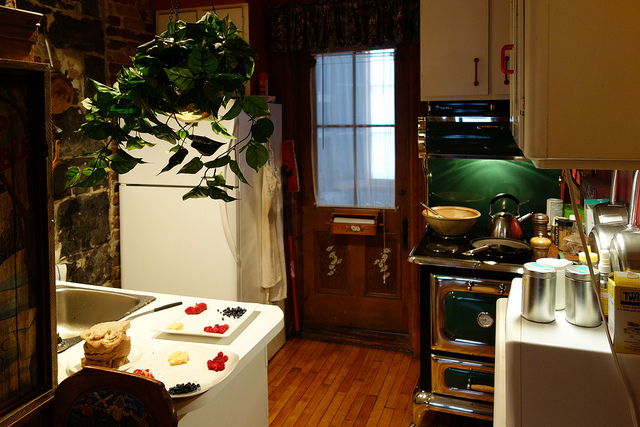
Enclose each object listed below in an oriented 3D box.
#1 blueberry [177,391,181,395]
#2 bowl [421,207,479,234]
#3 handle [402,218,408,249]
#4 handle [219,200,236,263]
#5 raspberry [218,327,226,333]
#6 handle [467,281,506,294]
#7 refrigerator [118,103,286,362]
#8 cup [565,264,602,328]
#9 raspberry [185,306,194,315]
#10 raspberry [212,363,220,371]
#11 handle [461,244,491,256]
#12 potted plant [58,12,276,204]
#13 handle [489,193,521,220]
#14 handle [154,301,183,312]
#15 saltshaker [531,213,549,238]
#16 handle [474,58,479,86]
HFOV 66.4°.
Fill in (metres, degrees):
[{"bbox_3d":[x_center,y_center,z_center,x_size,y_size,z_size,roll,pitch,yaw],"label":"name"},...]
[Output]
[{"bbox_3d":[-0.552,0.699,1.907,0.012,0.007,0.011,-5,11,-13],"label":"blueberry"},{"bbox_3d":[0.924,0.041,3.475,0.359,0.178,0.342,-3,11,0],"label":"bowl"},{"bbox_3d":[0.712,0.173,4.100,0.039,0.252,0.051,-1,10,7],"label":"handle"},{"bbox_3d":[-0.677,0.146,3.567,0.050,0.536,0.055,14,25,20],"label":"handle"},{"bbox_3d":[-0.476,0.563,2.358,0.035,0.014,0.028,-1,11,10],"label":"raspberry"},{"bbox_3d":[1.008,0.453,2.969,0.219,0.070,0.010,2,11,22],"label":"handle"},{"bbox_3d":[-0.885,0.160,4.022,0.813,2.030,1.381,3,10,13],"label":"refrigerator"},{"bbox_3d":[1.042,0.338,1.953,0.124,0.238,0.153,-5,4,-36],"label":"cup"},{"bbox_3d":[-0.687,0.509,2.560,0.046,0.021,0.051,-6,12,-17],"label":"raspberry"},{"bbox_3d":[-0.442,0.647,2.058,0.018,0.025,0.012,16,-35,-12],"label":"raspberry"},{"bbox_3d":[0.988,0.230,3.095,0.170,0.065,0.078,2,12,21],"label":"handle"},{"bbox_3d":[-0.487,-0.445,1.556,0.550,0.337,0.534,-2,-17,-15],"label":"potted plant"},{"bbox_3d":[1.343,-0.053,3.539,0.173,0.161,0.025,-2,-6,26],"label":"handle"},{"bbox_3d":[-0.820,0.505,2.644,0.130,0.024,0.019,-9,14,-27],"label":"handle"},{"bbox_3d":[1.454,0.088,3.259,0.104,0.166,0.163,6,14,39],"label":"saltshaker"},{"bbox_3d":[1.026,-0.930,3.212,0.029,0.176,0.016,0,10,15],"label":"handle"}]
